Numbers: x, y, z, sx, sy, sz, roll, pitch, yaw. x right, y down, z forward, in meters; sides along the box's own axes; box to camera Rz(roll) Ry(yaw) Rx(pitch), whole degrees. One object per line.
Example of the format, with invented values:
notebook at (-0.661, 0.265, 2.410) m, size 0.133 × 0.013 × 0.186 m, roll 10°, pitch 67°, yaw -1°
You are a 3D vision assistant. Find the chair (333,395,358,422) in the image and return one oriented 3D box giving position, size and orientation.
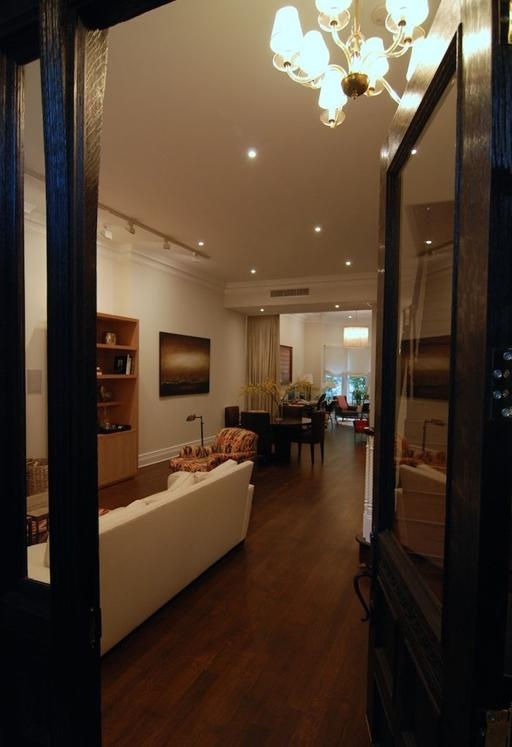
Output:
chair at (2.091, 0.811, 11.729) m, size 0.390 × 0.853 × 0.605 m, roll 1°, pitch -7°, yaw -16°

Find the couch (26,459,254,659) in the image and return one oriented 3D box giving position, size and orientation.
couch at (-0.484, 0.819, 2.719) m, size 0.422 × 0.652 × 1.386 m, roll 17°, pitch 15°, yaw 30°

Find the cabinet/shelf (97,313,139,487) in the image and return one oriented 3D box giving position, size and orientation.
cabinet/shelf at (-1.682, 0.305, 5.419) m, size 0.277 × 1.870 × 0.786 m, roll 3°, pitch 4°, yaw 26°
